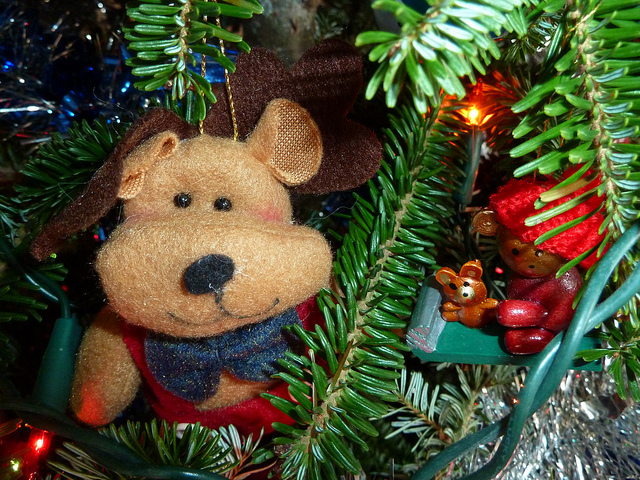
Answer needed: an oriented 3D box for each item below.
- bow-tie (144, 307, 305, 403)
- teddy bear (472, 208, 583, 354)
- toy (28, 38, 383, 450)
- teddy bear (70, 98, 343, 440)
[{"bbox_3d":[-0.115,0.143,0.678,0.178,0.106,0.056,-3,37,7],"label":"bow-tie"},{"bbox_3d":[0.227,0.035,0.715,0.099,0.145,0.109,-4,22,-7],"label":"teddy bear"},{"bbox_3d":[-0.119,0.021,0.720,0.400,0.443,0.212,-12,31,-17],"label":"toy"},{"bbox_3d":[-0.123,0.077,0.792,0.381,0.435,0.238,-7,23,-14],"label":"teddy bear"}]
